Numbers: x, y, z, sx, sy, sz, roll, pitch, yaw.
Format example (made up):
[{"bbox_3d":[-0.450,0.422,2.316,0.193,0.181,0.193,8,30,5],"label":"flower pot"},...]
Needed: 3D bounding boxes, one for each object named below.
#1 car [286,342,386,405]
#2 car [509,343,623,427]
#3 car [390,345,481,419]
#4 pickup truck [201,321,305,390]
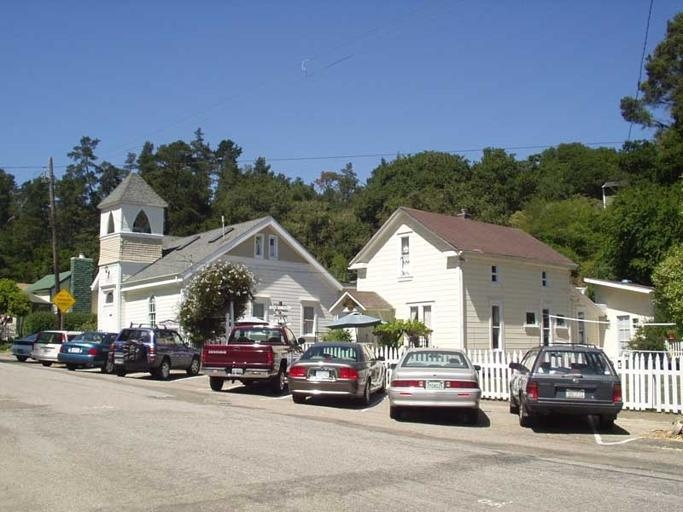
[{"bbox_3d":[0.018,3.358,21.484,1.876,1.798,3.067,-3,-12,28],"label":"car"},{"bbox_3d":[5.185,3.042,17.990,1.514,1.266,2.769,0,-3,2],"label":"car"},{"bbox_3d":[2.260,3.250,18.202,2.170,1.619,1.169,0,-10,8],"label":"car"},{"bbox_3d":[-2.771,3.105,23.055,2.169,2.264,2.965,-8,-14,44],"label":"pickup truck"}]
